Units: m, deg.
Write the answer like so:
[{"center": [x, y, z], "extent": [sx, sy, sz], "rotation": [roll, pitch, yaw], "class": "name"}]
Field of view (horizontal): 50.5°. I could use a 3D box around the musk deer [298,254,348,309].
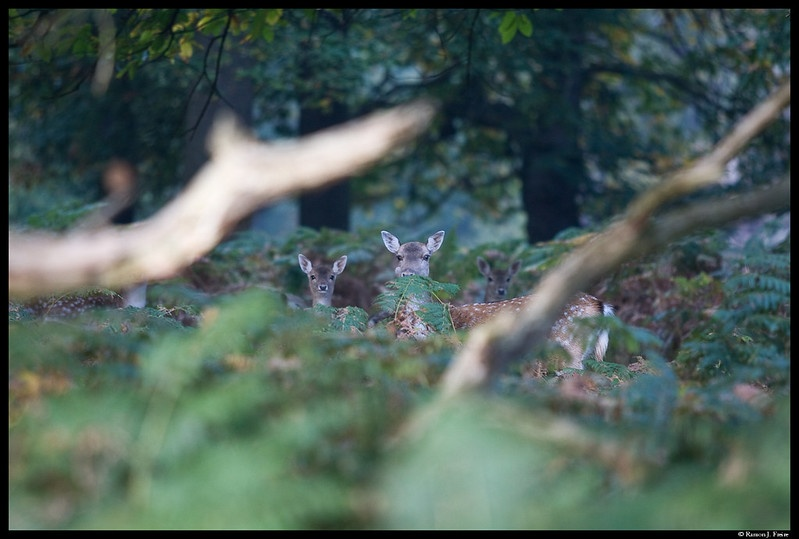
[{"center": [-0.947, 0.176, 10.792], "extent": [0.531, 0.722, 0.680], "rotation": [2, 20, -32], "class": "musk deer"}]
